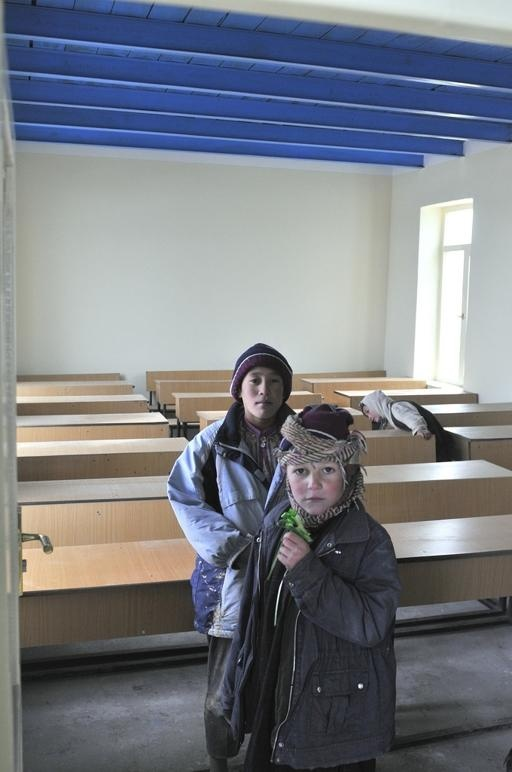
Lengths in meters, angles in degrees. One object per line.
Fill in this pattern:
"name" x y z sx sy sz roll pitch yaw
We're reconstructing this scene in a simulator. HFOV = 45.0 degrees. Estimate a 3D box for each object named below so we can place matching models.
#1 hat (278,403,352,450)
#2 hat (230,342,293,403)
"hat" 0.127 0.095 1.310 0.118 0.099 0.097 10 -3 -38
"hat" 0.033 -0.070 1.835 0.110 0.106 0.139 16 0 13
